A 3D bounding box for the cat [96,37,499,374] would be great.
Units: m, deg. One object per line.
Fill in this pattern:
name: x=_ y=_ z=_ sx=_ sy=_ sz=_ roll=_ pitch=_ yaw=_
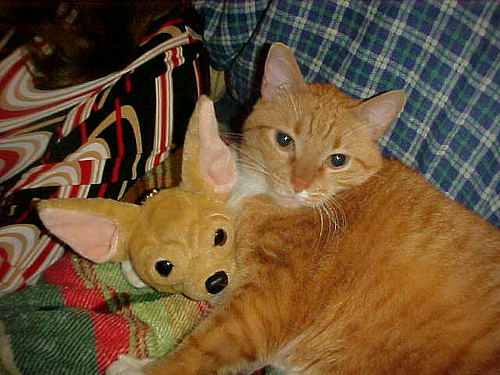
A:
cat: x=0.233 y=0.101 z=1.306 sx=0.752 sy=0.501 sz=0.738 roll=10 pitch=52 yaw=3
